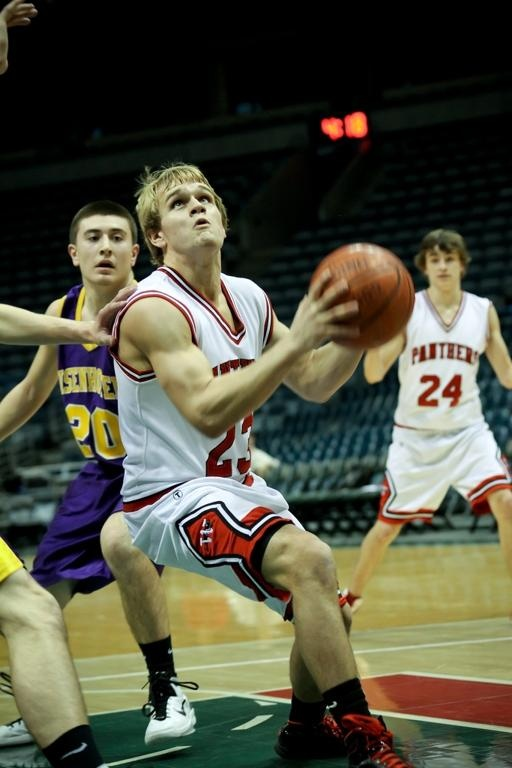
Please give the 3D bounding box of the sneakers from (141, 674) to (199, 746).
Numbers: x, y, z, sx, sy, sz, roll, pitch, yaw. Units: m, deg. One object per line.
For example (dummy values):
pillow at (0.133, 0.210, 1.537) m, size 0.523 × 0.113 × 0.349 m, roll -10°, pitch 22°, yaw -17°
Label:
sneakers at (-0.227, 0.840, 2.015) m, size 0.109 × 0.098 × 0.216 m, roll -18°, pitch -17°, yaw -5°

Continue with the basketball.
basketball at (0.220, -0.180, 1.593) m, size 0.215 × 0.214 × 0.210 m, roll 2°, pitch -6°, yaw -43°
